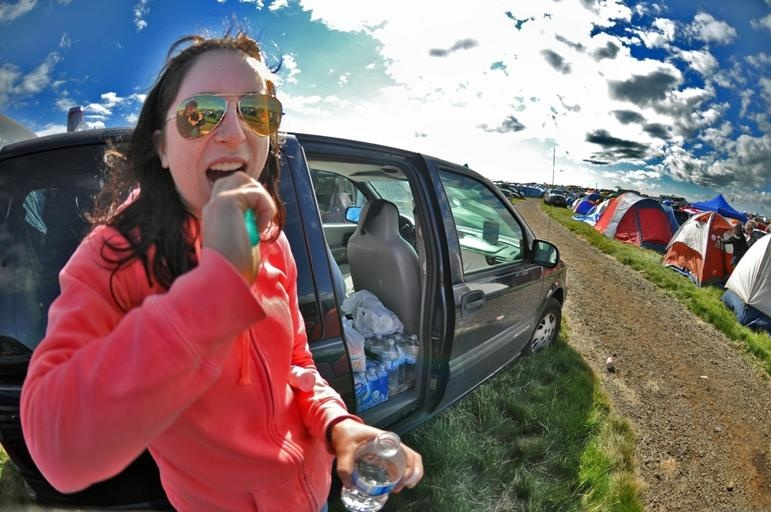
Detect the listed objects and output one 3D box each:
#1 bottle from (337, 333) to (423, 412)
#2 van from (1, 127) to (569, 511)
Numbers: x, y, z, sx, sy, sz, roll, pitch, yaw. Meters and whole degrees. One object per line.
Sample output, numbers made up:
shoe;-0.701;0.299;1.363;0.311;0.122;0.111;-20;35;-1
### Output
bottle;-0.017;0.743;2.863;0.326;0.181;0.464;5;10;37
van;-0.398;0.115;2.820;1.650;1.335;2.803;12;22;43
